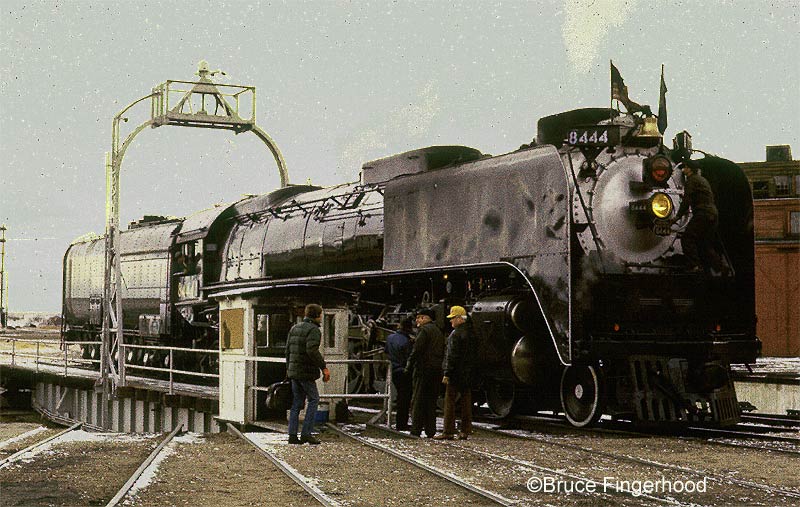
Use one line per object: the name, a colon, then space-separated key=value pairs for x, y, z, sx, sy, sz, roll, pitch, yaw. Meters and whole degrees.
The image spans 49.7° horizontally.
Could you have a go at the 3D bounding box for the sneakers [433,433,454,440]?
sneakers: x=0.857 y=3.625 z=17.142 sx=0.427 sy=0.186 sz=0.149 roll=1 pitch=-5 yaw=20

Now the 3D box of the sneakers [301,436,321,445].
sneakers: x=-1.749 y=3.661 z=16.868 sx=0.433 sy=0.188 sz=0.149 roll=0 pitch=-3 yaw=0

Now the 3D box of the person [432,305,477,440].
person: x=1.117 y=2.376 z=17.181 sx=0.779 sy=2.418 sz=0.528 roll=-1 pitch=0 yaw=-16

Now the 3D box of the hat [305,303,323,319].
hat: x=-1.685 y=1.157 z=17.010 sx=0.247 sy=0.298 sz=0.302 roll=1 pitch=-10 yaw=-9

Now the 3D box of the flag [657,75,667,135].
flag: x=5.662 y=-3.263 z=18.614 sx=0.047 sy=1.487 sz=0.293 roll=-14 pitch=17 yaw=-32

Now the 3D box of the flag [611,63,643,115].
flag: x=4.695 y=-3.425 z=17.934 sx=0.608 sy=1.120 sz=1.579 roll=-1 pitch=-1 yaw=15

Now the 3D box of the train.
train: x=-3.960 y=0.249 z=31.051 sx=8.634 sy=12.270 sz=33.491 roll=2 pitch=-4 yaw=-34

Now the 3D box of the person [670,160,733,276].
person: x=6.403 y=-0.748 z=18.306 sx=0.793 sy=2.450 sz=1.188 roll=-1 pitch=0 yaw=32

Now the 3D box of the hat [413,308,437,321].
hat: x=0.580 y=1.404 z=19.475 sx=0.364 sy=0.224 sz=0.230 roll=13 pitch=-16 yaw=-28

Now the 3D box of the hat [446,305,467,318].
hat: x=1.147 y=1.176 z=17.369 sx=0.321 sy=0.189 sz=0.232 roll=0 pitch=-2 yaw=21
